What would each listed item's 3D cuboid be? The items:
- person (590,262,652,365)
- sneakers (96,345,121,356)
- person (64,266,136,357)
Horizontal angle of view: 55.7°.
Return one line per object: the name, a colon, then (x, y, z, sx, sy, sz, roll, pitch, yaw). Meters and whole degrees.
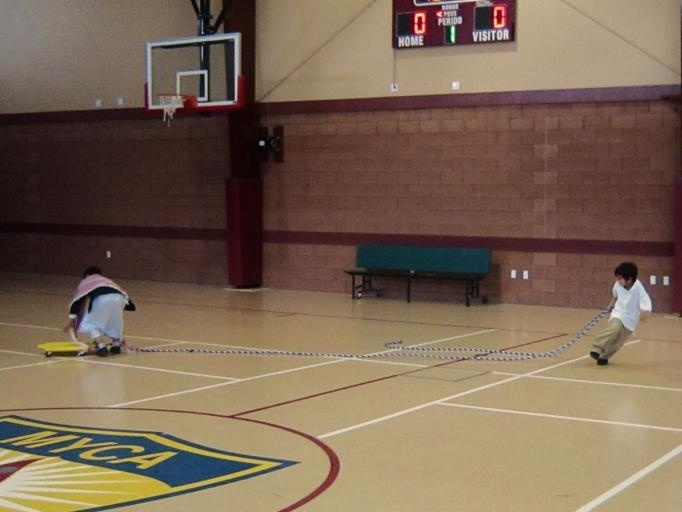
person: (3.569, 0.733, 8.301, 0.678, 1.316, 0.682, 2, 5, 22)
sneakers: (-3.188, 1.288, 8.836, 0.129, 0.152, 0.355, 1, -4, -35)
person: (-3.418, 0.781, 9.118, 0.870, 1.377, 0.840, -24, -23, 36)
